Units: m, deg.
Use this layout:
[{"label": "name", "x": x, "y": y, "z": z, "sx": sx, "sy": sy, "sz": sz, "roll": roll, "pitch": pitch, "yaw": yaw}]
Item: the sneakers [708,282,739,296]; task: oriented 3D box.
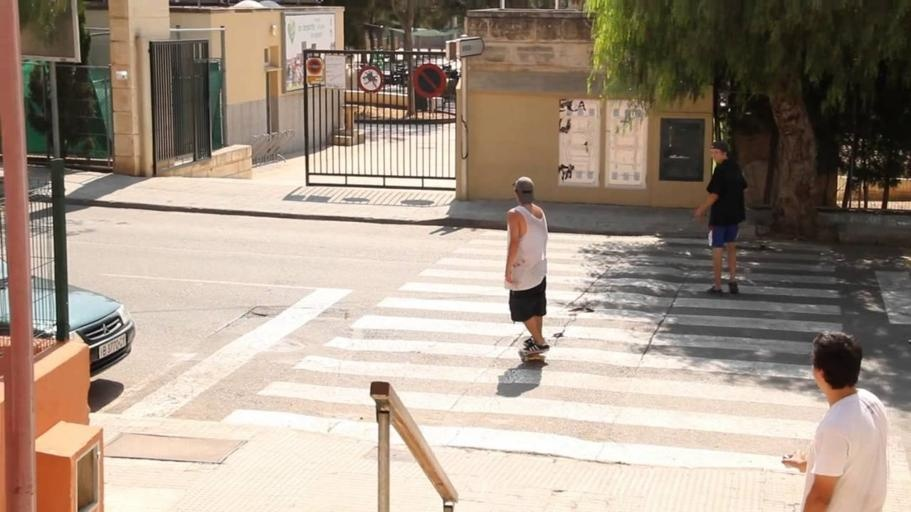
[{"label": "sneakers", "x": 5.100, "y": 0.640, "z": 18.151, "sx": 0.656, "sy": 0.270, "sz": 0.239, "roll": 1, "pitch": 12, "yaw": 8}]

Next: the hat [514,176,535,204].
[{"label": "hat", "x": 1.073, "y": -1.019, "z": 15.177, "sx": 0.267, "sy": 0.435, "sz": 0.395, "roll": 3, "pitch": 14, "yaw": 11}]

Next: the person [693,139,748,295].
[{"label": "person", "x": 4.955, "y": -0.661, "z": 17.844, "sx": 0.739, "sy": 2.863, "sz": 0.599, "roll": -11, "pitch": 18, "yaw": -37}]

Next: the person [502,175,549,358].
[{"label": "person", "x": 1.162, "y": 0.172, "z": 15.339, "sx": 0.727, "sy": 2.821, "sz": 0.702, "roll": 1, "pitch": 14, "yaw": 4}]

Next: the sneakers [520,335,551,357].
[{"label": "sneakers", "x": 1.232, "y": 1.479, "z": 15.407, "sx": 0.588, "sy": 0.275, "sz": 0.214, "roll": 3, "pitch": 6, "yaw": 0}]
